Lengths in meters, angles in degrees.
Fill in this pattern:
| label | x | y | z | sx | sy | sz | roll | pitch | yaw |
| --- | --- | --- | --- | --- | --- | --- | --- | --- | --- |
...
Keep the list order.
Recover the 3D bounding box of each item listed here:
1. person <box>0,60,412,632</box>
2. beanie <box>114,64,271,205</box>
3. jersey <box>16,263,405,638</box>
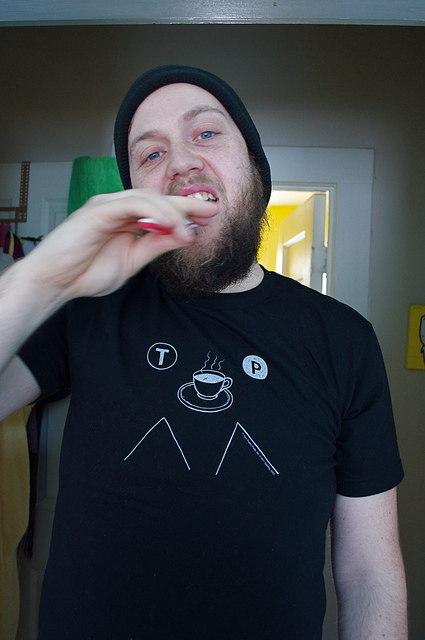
| label | x | y | z | sx | sy | sz | roll | pitch | yaw |
| --- | --- | --- | --- | --- | --- | --- | --- | --- | --- |
| person | -0.007 | 0.022 | 1.013 | 0.717 | 1.014 | 0.419 | 3 | 4 | -13 |
| beanie | -0.035 | -0.393 | 1.192 | 0.341 | 0.229 | 0.224 | 4 | 4 | 1 |
| jersey | 0.006 | 0.219 | 0.953 | 0.655 | 0.551 | 0.274 | 3 | 4 | -18 |
